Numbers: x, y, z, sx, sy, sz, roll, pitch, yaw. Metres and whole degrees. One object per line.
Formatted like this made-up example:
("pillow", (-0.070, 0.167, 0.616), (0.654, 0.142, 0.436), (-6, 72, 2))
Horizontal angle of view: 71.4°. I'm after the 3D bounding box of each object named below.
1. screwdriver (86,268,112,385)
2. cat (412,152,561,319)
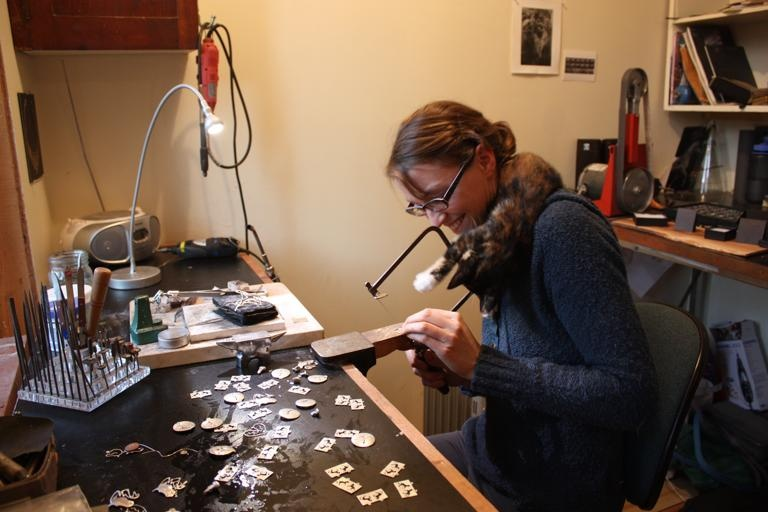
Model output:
("screwdriver", (-0.899, 0.195, 1.695), (0.067, 0.324, 0.053), (6, 30, -22))
("cat", (0.289, -0.092, 1.722), (0.353, 0.466, 0.365), (-5, 23, -16))
